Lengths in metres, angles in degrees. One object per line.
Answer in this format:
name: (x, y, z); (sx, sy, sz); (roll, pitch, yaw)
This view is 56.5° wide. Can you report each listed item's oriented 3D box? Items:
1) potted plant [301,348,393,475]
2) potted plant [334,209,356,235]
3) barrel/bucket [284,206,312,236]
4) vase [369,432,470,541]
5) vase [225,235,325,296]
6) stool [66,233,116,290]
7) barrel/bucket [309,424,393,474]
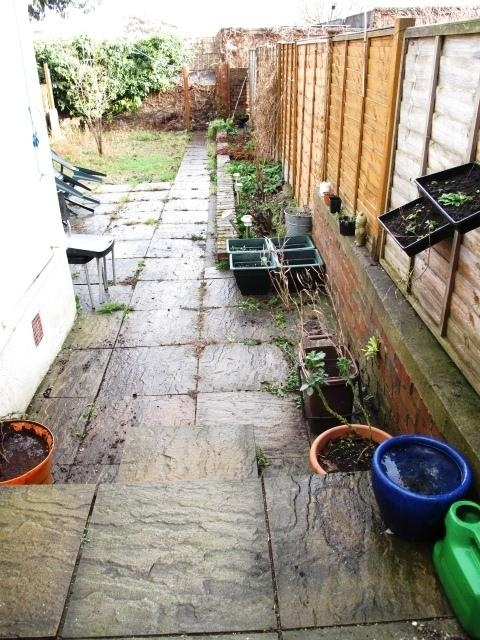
potted plant: (0.505, 0.504, 2.444); (0.418, 0.609, 0.614); (-10, 20, -11)
potted plant: (0.866, -0.809, 3.678); (0.160, 0.141, 0.185); (-3, 24, -2)
barrel/bucket: (0.730, -1.271, 5.754); (0.367, 0.349, 0.391); (-1, 25, 1)
vase: (0.586, 0.521, 1.502); (0.302, 0.228, 0.304); (-12, 29, -19)
vase: (0.414, -0.625, 5.072); (0.746, 0.298, 0.892); (-4, 26, -2)
stool: (-1.683, -0.645, 5.024); (0.468, 0.559, 0.594); (8, 28, 2)
barrel/bucket: (0.555, 0.593, 2.283); (0.300, 0.120, 0.292); (-10, 26, 5)
